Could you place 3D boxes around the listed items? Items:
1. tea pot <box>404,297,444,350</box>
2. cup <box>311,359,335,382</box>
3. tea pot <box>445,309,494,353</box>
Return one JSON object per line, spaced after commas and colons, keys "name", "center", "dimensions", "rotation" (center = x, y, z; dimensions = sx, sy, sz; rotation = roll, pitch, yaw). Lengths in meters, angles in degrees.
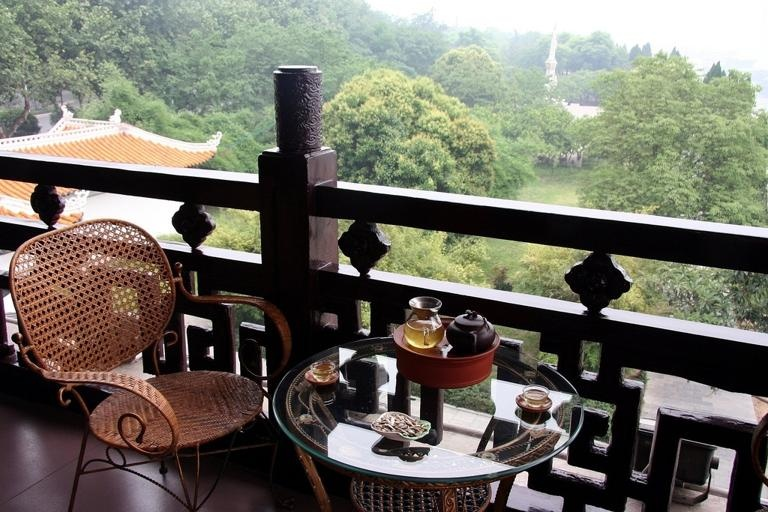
{"name": "tea pot", "center": [0.110, 0.194, 1.818], "dimensions": [0.105, 0.108, 0.160], "rotation": [1, 18, 3]}
{"name": "cup", "center": [-0.186, 0.349, 1.915], "dimensions": [0.056, 0.024, 0.056], "rotation": [2, 10, 0]}
{"name": "tea pot", "center": [0.251, 0.207, 1.824], "dimensions": [0.152, 0.097, 0.190], "rotation": [1, 17, 6]}
